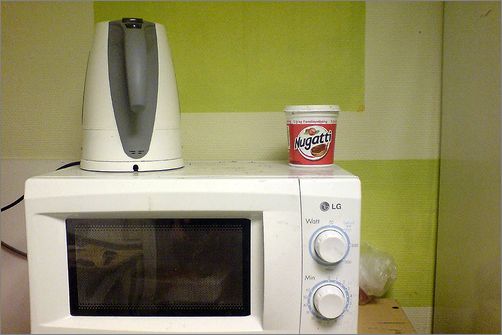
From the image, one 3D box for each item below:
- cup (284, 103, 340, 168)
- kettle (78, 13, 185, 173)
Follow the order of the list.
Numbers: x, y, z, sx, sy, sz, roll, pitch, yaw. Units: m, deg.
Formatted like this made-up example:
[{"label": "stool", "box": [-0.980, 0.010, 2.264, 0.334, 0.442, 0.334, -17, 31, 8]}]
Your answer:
[{"label": "cup", "box": [0.172, -0.093, 1.424, 0.156, 0.182, 0.095, 5, 28, 4]}, {"label": "kettle", "box": [-0.358, -0.208, 1.404, 0.298, 0.413, 0.245, -2, 28, -9]}]
